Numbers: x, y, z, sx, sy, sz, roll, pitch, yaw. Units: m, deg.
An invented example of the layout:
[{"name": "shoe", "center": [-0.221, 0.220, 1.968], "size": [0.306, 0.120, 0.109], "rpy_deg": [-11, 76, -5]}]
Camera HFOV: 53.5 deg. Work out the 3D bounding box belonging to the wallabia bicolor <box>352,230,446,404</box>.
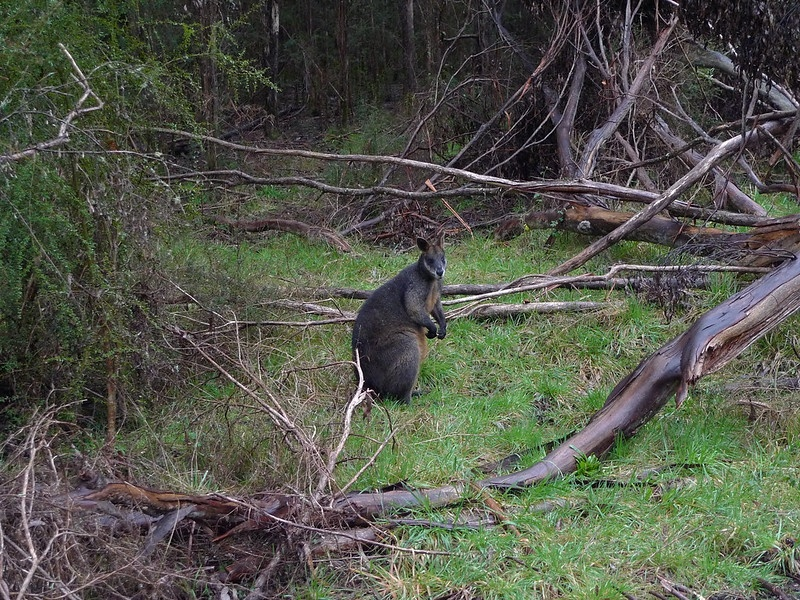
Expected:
[{"name": "wallabia bicolor", "center": [-0.002, 0.228, 8.460], "size": [1.029, 0.736, 1.948], "rpy_deg": [-8, 58, -4]}]
